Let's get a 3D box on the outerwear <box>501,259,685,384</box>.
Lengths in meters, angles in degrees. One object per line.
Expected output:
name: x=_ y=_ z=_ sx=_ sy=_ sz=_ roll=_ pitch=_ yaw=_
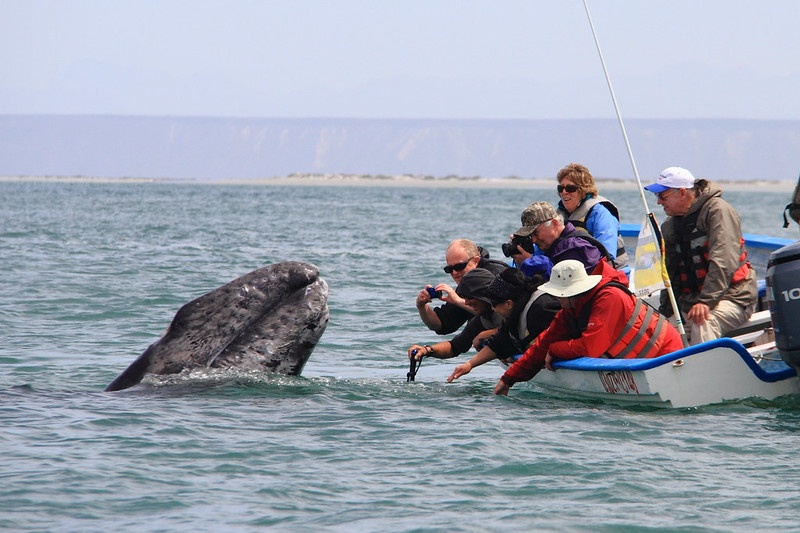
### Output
outerwear: x=2.214 y=0.656 z=15.643 sx=2.005 sy=1.449 sz=0.829 roll=0 pitch=-1 yaw=8

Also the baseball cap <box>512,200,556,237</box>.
baseball cap: x=1.739 y=-0.628 z=16.661 sx=0.625 sy=0.239 sz=0.383 roll=-20 pitch=8 yaw=-26

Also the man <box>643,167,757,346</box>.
man: x=3.876 y=0.122 z=17.015 sx=1.744 sy=2.394 sz=1.406 roll=2 pitch=0 yaw=0

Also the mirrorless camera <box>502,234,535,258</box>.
mirrorless camera: x=1.450 y=-0.303 z=16.943 sx=0.488 sy=0.250 sz=0.248 roll=2 pitch=25 yaw=23

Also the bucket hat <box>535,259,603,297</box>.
bucket hat: x=1.935 y=0.126 z=15.407 sx=0.671 sy=0.427 sz=0.260 roll=1 pitch=-1 yaw=5

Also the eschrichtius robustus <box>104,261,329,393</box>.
eschrichtius robustus: x=-2.484 y=0.618 z=15.220 sx=3.685 sy=0.936 sz=0.920 roll=-9 pitch=15 yaw=-11

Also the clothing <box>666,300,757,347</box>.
clothing: x=3.852 y=0.648 z=16.474 sx=0.795 sy=0.191 sz=0.676 roll=-20 pitch=17 yaw=-22
